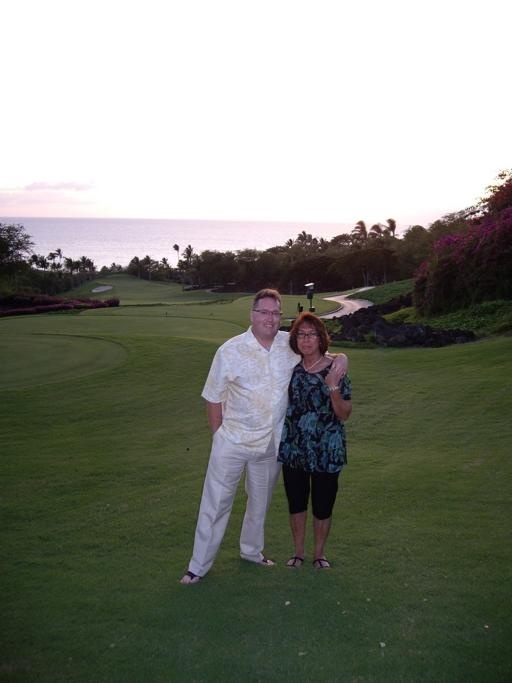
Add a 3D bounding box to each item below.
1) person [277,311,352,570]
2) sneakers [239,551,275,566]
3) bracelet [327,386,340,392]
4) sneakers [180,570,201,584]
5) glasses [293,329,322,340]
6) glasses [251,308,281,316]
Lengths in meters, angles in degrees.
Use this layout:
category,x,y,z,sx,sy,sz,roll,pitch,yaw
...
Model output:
category,x,y,z,sx,sy,sz,roll,pitch,yaw
person,0.385,0.670,3.453,0.489,1.745,0.334,-1,6,13
sneakers,0.007,1.519,3.629,0.226,0.083,0.076,4,10,16
bracelet,0.478,0.285,3.236,0.062,0.038,0.030,0,6,19
sneakers,-0.426,1.519,3.367,0.058,0.035,0.122,2,-6,36
glasses,0.336,-0.054,3.352,0.146,0.076,0.065,-1,5,5
glasses,0.068,-0.198,3.411,0.185,0.053,0.108,-2,5,-1
